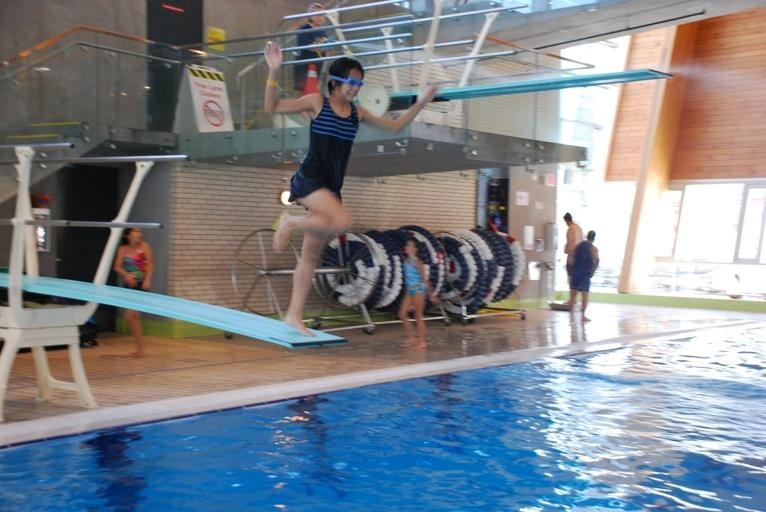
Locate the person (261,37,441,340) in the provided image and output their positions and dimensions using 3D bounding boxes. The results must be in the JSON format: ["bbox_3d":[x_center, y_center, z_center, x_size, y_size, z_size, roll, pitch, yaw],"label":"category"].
[{"bbox_3d":[-0.363,-0.527,4.817,1.170,2.263,0.663,1,8,-6],"label":"person"}]

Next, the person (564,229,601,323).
[{"bbox_3d":[4.069,0.391,12.262,0.518,1.789,1.046,4,8,15],"label":"person"}]

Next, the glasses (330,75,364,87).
[{"bbox_3d":[-0.282,-1.294,4.469,0.170,0.029,0.144,10,9,26],"label":"glasses"}]
